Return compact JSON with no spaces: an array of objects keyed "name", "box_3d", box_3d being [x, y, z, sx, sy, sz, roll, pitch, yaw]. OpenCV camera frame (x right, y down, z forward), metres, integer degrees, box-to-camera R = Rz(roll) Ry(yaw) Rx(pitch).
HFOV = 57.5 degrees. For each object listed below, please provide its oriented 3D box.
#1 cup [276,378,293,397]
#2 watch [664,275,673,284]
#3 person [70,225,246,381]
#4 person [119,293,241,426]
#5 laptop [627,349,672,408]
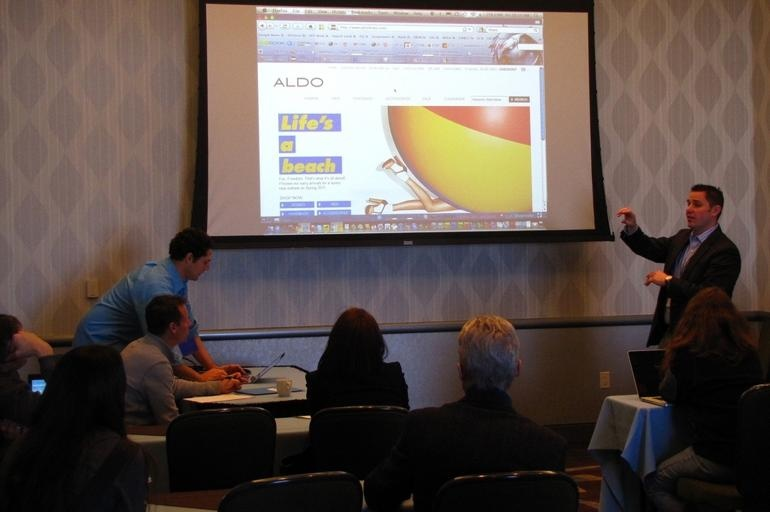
[{"name":"cup","box_3d":[-0.587,0.756,4.076,0.075,0.080,0.095,1,1,-18]},{"name":"watch","box_3d":[1.949,0.153,4.814,0.054,0.045,0.051,0,3,-9]},{"name":"person","box_3d":[-1.446,0.496,4.643,1.165,1.349,0.547,7,0,-15]},{"name":"person","box_3d":[-1.223,0.806,4.080,0.648,1.114,0.438,6,3,-24]},{"name":"laptop","box_3d":[1.526,0.693,4.082,0.284,0.216,0.251,1,-1,-15]}]
